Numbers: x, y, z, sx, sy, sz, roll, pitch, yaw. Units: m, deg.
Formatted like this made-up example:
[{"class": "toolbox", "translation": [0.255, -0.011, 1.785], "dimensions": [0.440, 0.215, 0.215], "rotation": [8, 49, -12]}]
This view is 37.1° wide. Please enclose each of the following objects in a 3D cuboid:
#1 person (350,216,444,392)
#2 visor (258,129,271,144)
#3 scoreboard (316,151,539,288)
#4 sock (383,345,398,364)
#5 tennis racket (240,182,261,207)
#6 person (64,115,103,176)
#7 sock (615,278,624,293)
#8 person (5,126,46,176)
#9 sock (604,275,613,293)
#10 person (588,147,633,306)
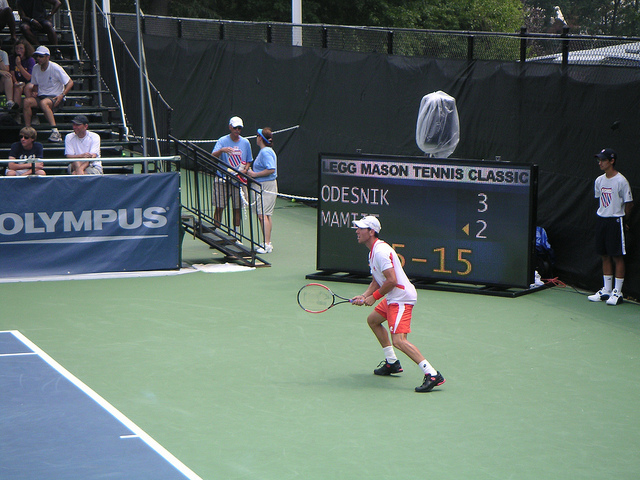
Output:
[{"class": "person", "translation": [1.046, 0.893, 13.406], "dimensions": [1.154, 2.407, 0.717], "rotation": [1, 4, 1]}, {"class": "visor", "translation": [-1.160, -2.115, 19.524], "dimensions": [0.261, 0.271, 0.447], "rotation": [2, 4, 9]}, {"class": "scoreboard", "translation": [1.923, -0.386, 17.499], "dimensions": [3.951, 2.320, 0.408], "rotation": [3, 3, 12]}, {"class": "sock", "translation": [1.016, 1.639, 13.777], "dimensions": [0.203, 0.276, 0.184], "rotation": [1, 4, -3]}, {"class": "tennis racket", "translation": [-1.516, -1.005, 20.519], "dimensions": [0.550, 0.517, 0.134], "rotation": [-10, 0, -40]}, {"class": "person", "translation": [-4.624, -1.899, 18.794], "dimensions": [0.706, 1.210, 1.937], "rotation": [0, 4, -14]}, {"class": "sock", "translation": [5.211, 0.780, 16.650], "dimensions": [0.121, 0.257, 0.218], "rotation": [3, 4, 18]}, {"class": "person", "translation": [-5.679, -1.722, 18.435], "dimensions": [0.695, 0.960, 1.118], "rotation": [0, 4, -19]}, {"class": "sock", "translation": [5.061, 0.765, 16.736], "dimensions": [0.148, 0.312, 0.123], "rotation": [1, 4, 3]}, {"class": "person", "translation": [5.072, -0.209, 16.550], "dimensions": [0.630, 2.708, 0.698], "rotation": [2, 4, 16]}]
